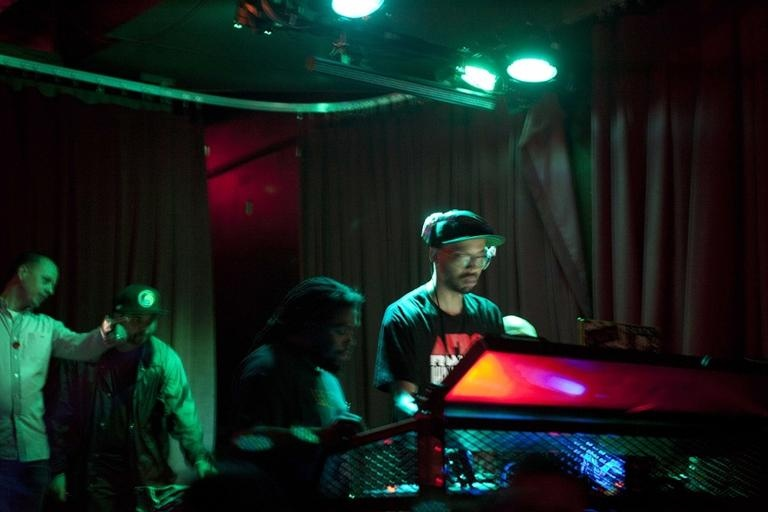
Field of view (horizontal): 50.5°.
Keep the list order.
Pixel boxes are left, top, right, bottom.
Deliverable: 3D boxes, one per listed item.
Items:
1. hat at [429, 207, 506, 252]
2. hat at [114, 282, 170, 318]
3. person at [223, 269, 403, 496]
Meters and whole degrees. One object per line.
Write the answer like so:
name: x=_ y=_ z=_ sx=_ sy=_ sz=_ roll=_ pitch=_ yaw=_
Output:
hat: x=0.461 y=-0.158 z=4.646 sx=0.429 sy=0.220 sz=0.562 roll=-3 pitch=9 yaw=-18
hat: x=-1.604 y=0.275 z=5.230 sx=0.265 sy=0.131 sz=0.211 roll=-11 pitch=-13 yaw=36
person: x=-0.418 y=0.524 z=3.668 sx=0.642 sy=0.862 sz=1.012 roll=1 pitch=-2 yaw=-3
